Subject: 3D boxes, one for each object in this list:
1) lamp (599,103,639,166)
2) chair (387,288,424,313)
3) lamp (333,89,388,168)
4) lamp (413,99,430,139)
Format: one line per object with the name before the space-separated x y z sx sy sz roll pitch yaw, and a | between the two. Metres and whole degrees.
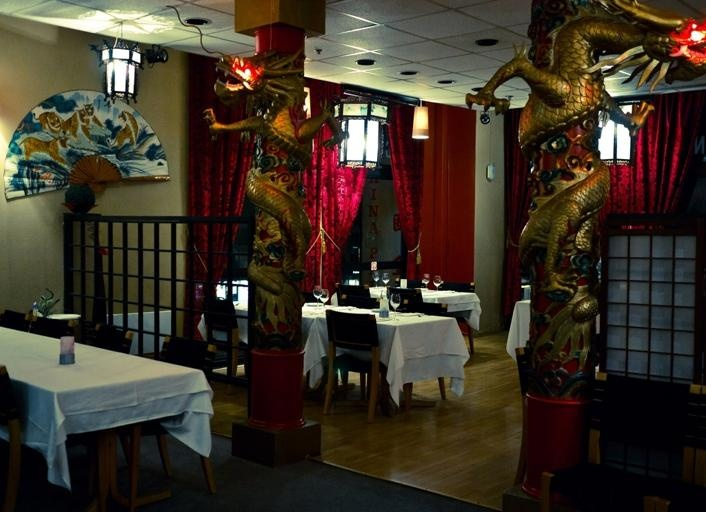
lamp | 3.448 -1.465 7.457 0.574 0.524 0.284 1 4 -8
chair | 0.647 0.525 6.877 0.313 0.398 0.275 -2 5 -41
lamp | 0.104 -1.519 7.252 0.739 1.051 0.829 1 2 22
lamp | 0.949 -1.879 8.004 0.179 0.438 0.176 3 4 21
